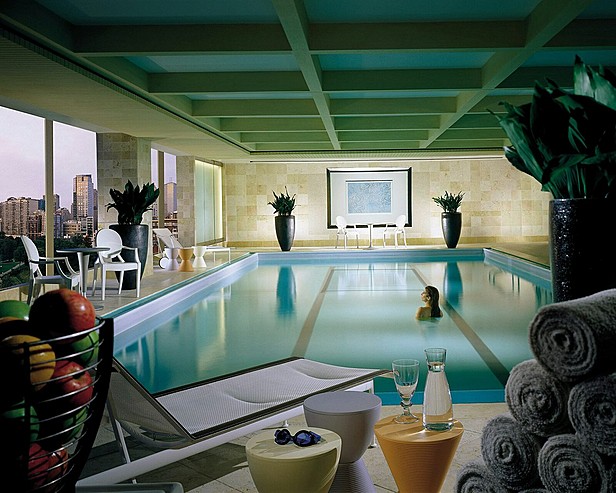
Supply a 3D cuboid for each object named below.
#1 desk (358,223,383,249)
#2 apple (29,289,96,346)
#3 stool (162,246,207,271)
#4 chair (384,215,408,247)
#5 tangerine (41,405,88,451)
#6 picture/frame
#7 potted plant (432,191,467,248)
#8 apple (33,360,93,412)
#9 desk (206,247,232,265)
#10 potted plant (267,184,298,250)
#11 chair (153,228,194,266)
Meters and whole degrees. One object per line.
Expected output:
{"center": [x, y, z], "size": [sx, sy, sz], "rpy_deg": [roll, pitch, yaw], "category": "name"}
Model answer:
{"center": [2.412, -0.385, 15.615], "size": [0.913, 0.865, 0.908], "rpy_deg": [-1, 0, -2], "category": "desk"}
{"center": [-0.392, 0.109, 0.682], "size": [0.086, 0.083, 0.086], "rpy_deg": [6, 29, 33], "category": "apple"}
{"center": [-3.077, 0.288, 10.228], "size": [1.110, 0.566, 1.383], "rpy_deg": [-5, 7, -36], "category": "stool"}
{"center": [3.215, -0.555, 15.189], "size": [0.893, 1.165, 1.890], "rpy_deg": [1, 6, 13], "category": "chair"}
{"center": [-0.361, 0.267, 0.622], "size": [0.060, 0.049, 0.066], "rpy_deg": [-2, -10, 2], "category": "tangerine"}
{"center": [2.434, -2.001, 16.042], "size": [2.475, 1.686, 0.095], "rpy_deg": [0, 1, 2], "category": "picture/frame"}
{"center": [5.040, -1.001, 14.808], "size": [1.128, 2.001, 2.914], "rpy_deg": [2, 6, 20], "category": "potted plant"}
{"center": [-0.347, 0.207, 0.608], "size": [0.064, 0.067, 0.065], "rpy_deg": [-27, 45, 7], "category": "apple"}
{"center": [-2.812, 0.235, 12.640], "size": [0.761, 0.317, 3.890], "rpy_deg": [-2, 6, -14], "category": "desk"}
{"center": [-0.941, -1.029, 15.080], "size": [1.092, 2.210, 2.662], "rpy_deg": [-1, 6, -5], "category": "potted plant"}
{"center": [-3.531, 0.037, 10.539], "size": [1.356, 0.916, 0.777], "rpy_deg": [0, 4, -2], "category": "chair"}
